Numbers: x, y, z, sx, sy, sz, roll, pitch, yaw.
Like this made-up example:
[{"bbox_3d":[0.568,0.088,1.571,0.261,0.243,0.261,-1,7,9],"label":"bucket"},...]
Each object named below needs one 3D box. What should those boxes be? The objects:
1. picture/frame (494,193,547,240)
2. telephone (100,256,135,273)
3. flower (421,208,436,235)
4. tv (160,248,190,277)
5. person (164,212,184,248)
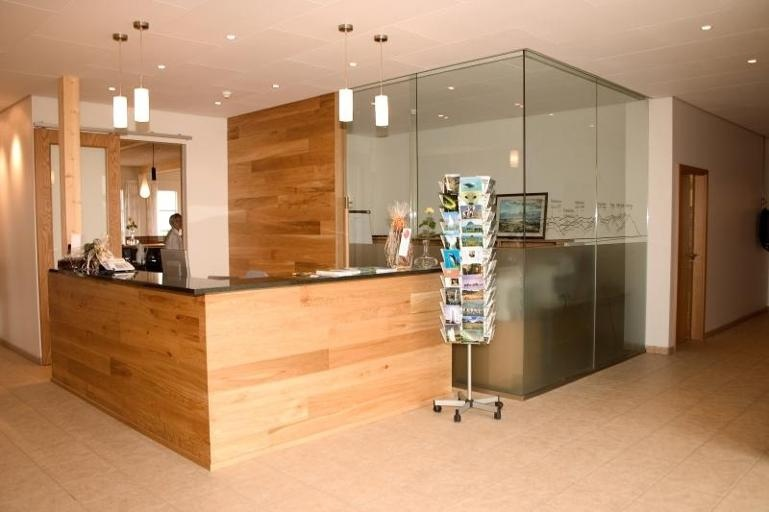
[{"bbox_3d":[1.599,-0.467,6.211,0.066,0.556,0.724,-3,5,-41],"label":"picture/frame"},{"bbox_3d":[-3.113,0.088,6.103,0.380,0.172,0.319,6,9,36],"label":"telephone"},{"bbox_3d":[0.547,-0.452,6.839,0.097,0.361,0.245,-7,11,-41],"label":"flower"},{"bbox_3d":[-2.405,0.071,6.035,0.274,0.291,0.667,-3,8,-22],"label":"tv"},{"bbox_3d":[-3.468,-0.422,8.676,0.267,0.526,0.892,-3,8,-21],"label":"person"}]
